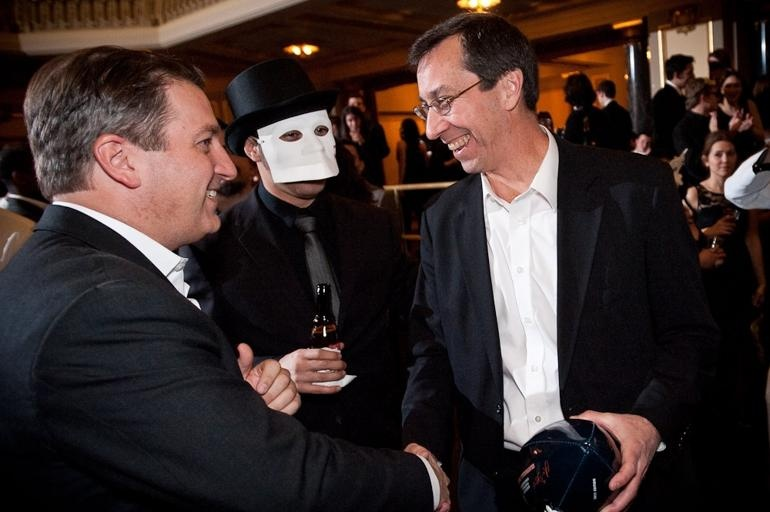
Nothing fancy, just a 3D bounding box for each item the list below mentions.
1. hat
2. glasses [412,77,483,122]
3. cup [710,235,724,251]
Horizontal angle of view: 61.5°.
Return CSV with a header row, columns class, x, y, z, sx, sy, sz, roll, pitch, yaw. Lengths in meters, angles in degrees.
class,x,y,z,sx,sy,sz,roll,pitch,yaw
hat,-0.498,-0.667,2.868,0.429,0.211,0.364,-23,1,17
glasses,0.209,-0.570,2.439,0.169,0.051,0.158,-31,16,-31
cup,2.024,-0.079,3.949,0.072,0.106,0.071,12,-9,2
